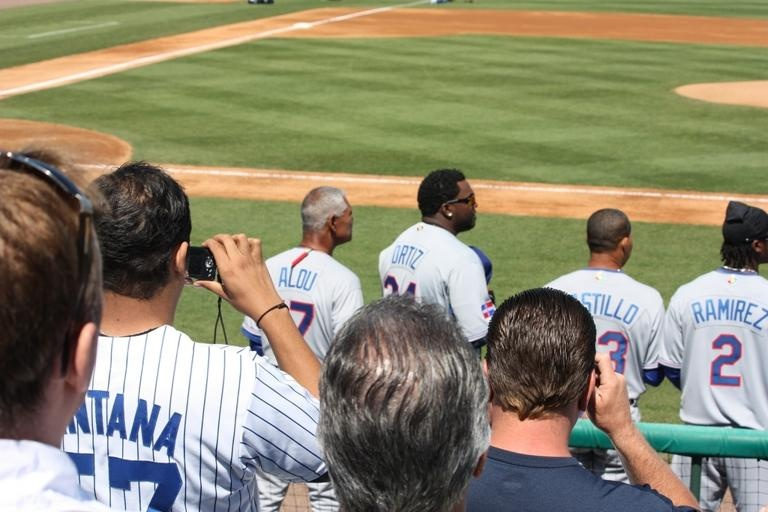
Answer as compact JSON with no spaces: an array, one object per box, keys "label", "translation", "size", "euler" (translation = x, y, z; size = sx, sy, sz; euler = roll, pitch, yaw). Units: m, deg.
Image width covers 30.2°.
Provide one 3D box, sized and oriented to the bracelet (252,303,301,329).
[{"label":"bracelet","translation":[-1.754,0.994,23.008],"size":[0.136,0.449,0.458],"euler":[53,27,11]}]
